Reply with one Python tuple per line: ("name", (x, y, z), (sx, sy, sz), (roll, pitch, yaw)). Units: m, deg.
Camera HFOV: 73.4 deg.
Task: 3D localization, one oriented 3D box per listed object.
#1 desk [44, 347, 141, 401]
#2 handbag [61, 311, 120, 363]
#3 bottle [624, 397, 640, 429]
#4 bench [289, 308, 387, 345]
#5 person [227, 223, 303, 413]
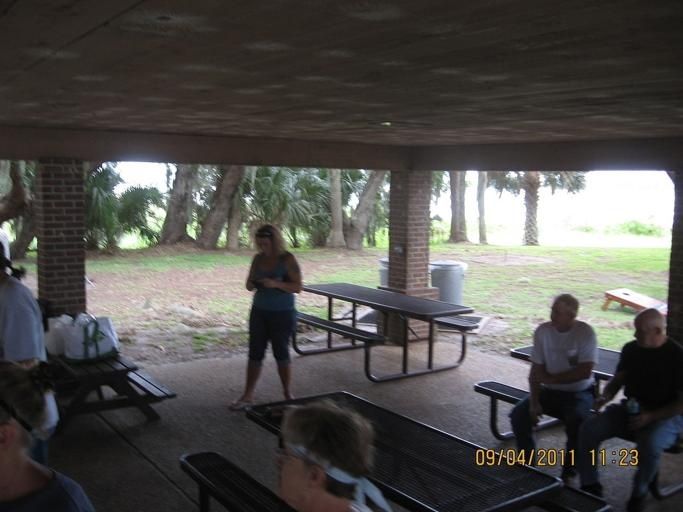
("desk", (-2.960, 1.389, 5.407), (0.962, 0.339, 1.845), (3, 2, -35))
("handbag", (-3.118, 0.979, 6.011), (0.977, 0.675, 0.509), (3, -11, -34))
("bottle", (2.592, 1.379, 4.110), (0.108, 0.222, 0.234), (10, 15, 30))
("bench", (-0.071, 1.308, 7.737), (0.500, 0.493, 2.093), (-6, 13, -32))
("person", (-0.930, 0.846, 5.862), (0.747, 2.470, 0.717), (14, 19, 39))
